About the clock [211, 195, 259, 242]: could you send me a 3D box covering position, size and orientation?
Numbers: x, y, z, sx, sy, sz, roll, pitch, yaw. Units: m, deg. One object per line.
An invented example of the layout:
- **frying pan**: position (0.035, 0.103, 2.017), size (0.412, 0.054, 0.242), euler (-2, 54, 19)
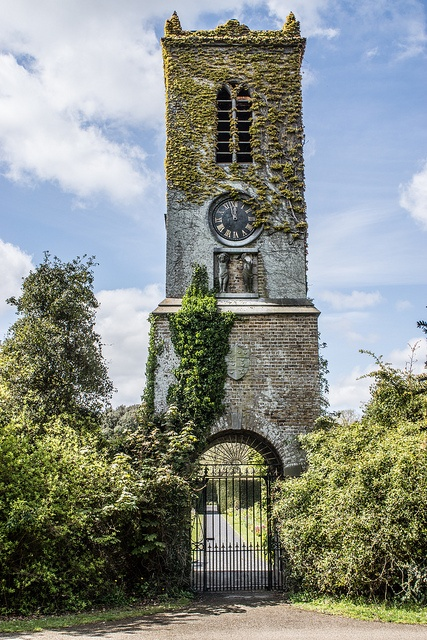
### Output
- **clock**: position (0.498, -2.445, 23.504), size (1.339, 1.183, 0.126), euler (0, -10, -2)
